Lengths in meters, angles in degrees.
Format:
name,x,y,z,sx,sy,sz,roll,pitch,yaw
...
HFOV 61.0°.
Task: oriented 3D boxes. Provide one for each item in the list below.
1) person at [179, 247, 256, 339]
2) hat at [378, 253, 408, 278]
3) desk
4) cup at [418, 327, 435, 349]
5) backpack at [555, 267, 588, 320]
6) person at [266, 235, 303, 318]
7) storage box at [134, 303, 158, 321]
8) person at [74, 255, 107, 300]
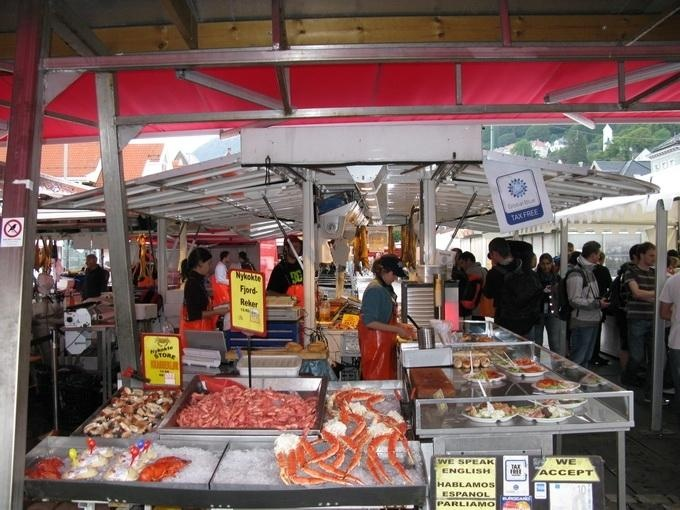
name,x,y,z,sx,sy,sz,roll,pitch,yaw
person,-1.618,0.436,6.884,0.576,0.958,2.084,-2,0,-15
hat,0.525,0.107,5.867,0.283,0.233,0.220,-2,0,-3
desk,1.374,1.309,4.645,1.634,1.320,1.614,-2,0,6
cup,0.741,0.716,5.014,0.182,0.155,0.133,0,-2,1
backpack,3.022,0.518,7.635,0.356,0.603,0.425,-5,11,18
person,-0.765,0.170,7.902,0.510,0.961,1.786,-2,0,-5
storage box,-2.812,0.833,8.395,0.272,0.236,0.746,-2,0,-19
person,-4.677,0.406,10.974,0.448,0.774,1.140,-2,0,-22
